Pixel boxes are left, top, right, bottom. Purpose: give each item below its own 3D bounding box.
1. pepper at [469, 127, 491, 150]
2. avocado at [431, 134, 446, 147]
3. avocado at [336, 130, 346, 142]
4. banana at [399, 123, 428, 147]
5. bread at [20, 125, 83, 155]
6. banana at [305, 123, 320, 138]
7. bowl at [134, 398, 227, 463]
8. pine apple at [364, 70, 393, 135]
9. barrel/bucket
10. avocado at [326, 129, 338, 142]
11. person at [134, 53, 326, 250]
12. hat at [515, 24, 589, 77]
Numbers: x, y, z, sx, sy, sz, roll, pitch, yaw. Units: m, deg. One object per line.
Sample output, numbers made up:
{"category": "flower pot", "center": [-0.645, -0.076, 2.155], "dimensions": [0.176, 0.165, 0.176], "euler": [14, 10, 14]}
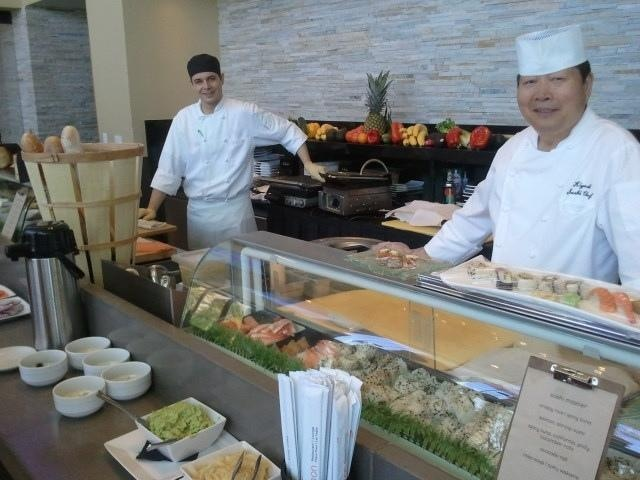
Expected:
{"category": "pepper", "center": [1.097, -0.693, 3.028], "dimensions": [0.124, 0.164, 0.056], "euler": [12, -7, 44]}
{"category": "avocado", "center": [0.873, -0.723, 3.256], "dimensions": [0.089, 0.068, 0.090], "euler": [-1, 13, -4]}
{"category": "avocado", "center": [0.183, -0.901, 3.907], "dimensions": [0.093, 0.087, 0.093], "euler": [0, -26, 9]}
{"category": "banana", "center": [0.736, -0.793, 3.412], "dimensions": [0.191, 0.187, 0.083], "euler": [-9, -34, 27]}
{"category": "bread", "center": [-1.080, -0.386, 1.799], "dimensions": [0.219, 0.079, 0.222], "euler": [1, 5, 32]}
{"category": "banana", "center": [-0.071, -1.006, 4.132], "dimensions": [0.115, 0.120, 0.151], "euler": [1, 4, -6]}
{"category": "bowl", "center": [-0.381, 0.471, 1.234], "dimensions": [0.231, 0.116, 0.223], "euler": [2, 13, 0]}
{"category": "pine apple", "center": [0.469, -1.049, 3.640], "dimensions": [0.245, 0.529, 0.240], "euler": [-12, 23, -30]}
{"category": "barrel/bucket", "center": [-0.890, -0.114, 1.955], "dimensions": [0.570, 0.634, 0.569], "euler": [0, 6, 0]}
{"category": "avocado", "center": [0.109, -0.917, 3.949], "dimensions": [0.109, 0.099, 0.080], "euler": [-11, -18, -27]}
{"category": "person", "center": [-0.704, -0.609, 3.264], "dimensions": [1.155, 1.366, 0.308], "euler": [-10, 19, -22]}
{"category": "hat", "center": [0.826, -0.665, 1.581], "dimensions": [0.225, 0.161, 0.125], "euler": [5, 19, 25]}
